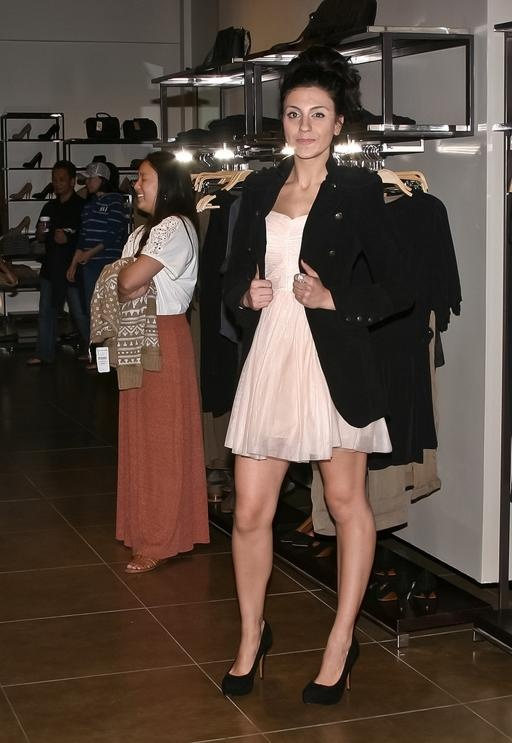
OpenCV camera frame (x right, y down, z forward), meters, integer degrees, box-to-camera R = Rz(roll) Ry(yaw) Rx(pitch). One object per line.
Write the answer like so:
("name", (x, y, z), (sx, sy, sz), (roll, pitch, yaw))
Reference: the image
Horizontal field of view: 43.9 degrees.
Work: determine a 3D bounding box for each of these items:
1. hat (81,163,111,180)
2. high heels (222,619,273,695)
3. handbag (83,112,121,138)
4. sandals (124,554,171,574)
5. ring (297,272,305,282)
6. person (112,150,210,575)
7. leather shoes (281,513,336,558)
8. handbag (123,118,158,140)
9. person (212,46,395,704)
("hat", (-1.892, -2.401, 7.578), (0.340, 0.172, 0.230), (8, 11, -15))
("high heels", (-0.033, 0.761, 1.657), (0.107, 0.233, 0.083), (3, 5, -27))
("handbag", (-2.368, -3.770, 9.821), (0.540, 0.481, 0.496), (-1, -1, -14))
("sandals", (-0.463, 0.807, 2.695), (0.164, 0.060, 0.058), (4, -4, -35))
("ring", (0.087, -0.190, 1.260), (0.012, 0.005, 0.016), (-5, 41, 17))
("person", (-0.382, -0.029, 2.727), (0.413, 1.751, 0.588), (1, -3, -10))
("leather shoes", (0.228, 0.685, 2.740), (0.158, 0.070, 0.196), (-5, 12, -31))
("handbag", (-1.747, -3.676, 9.725), (0.562, 0.380, 0.159), (0, 2, 9))
("person", (0.121, 0.064, 1.480), (0.377, 1.509, 0.467), (1, -3, -10))
